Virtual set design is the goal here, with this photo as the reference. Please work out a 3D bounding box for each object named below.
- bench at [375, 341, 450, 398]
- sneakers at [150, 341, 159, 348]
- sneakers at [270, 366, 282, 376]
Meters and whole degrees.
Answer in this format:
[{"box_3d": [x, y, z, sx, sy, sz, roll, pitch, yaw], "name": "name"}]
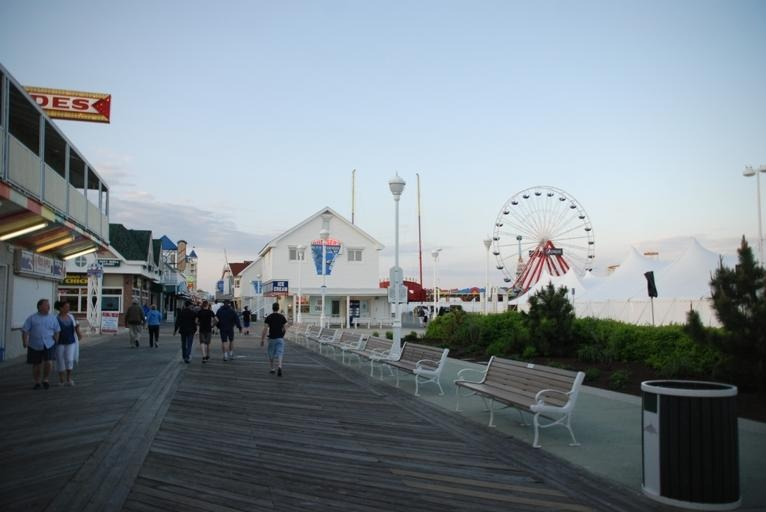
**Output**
[{"box_3d": [0.724, 2.962, 15.664, 0.962, 1.160, 2.602, 5, -5, -19], "name": "bench"}, {"box_3d": [-10.036, 3.924, 25.870, 0.208, 0.279, 0.643, -1, -15, -22], "name": "sneakers"}, {"box_3d": [-3.076, 3.317, 16.974, 0.227, 0.292, 0.651, 1, -2, -14], "name": "sneakers"}]
